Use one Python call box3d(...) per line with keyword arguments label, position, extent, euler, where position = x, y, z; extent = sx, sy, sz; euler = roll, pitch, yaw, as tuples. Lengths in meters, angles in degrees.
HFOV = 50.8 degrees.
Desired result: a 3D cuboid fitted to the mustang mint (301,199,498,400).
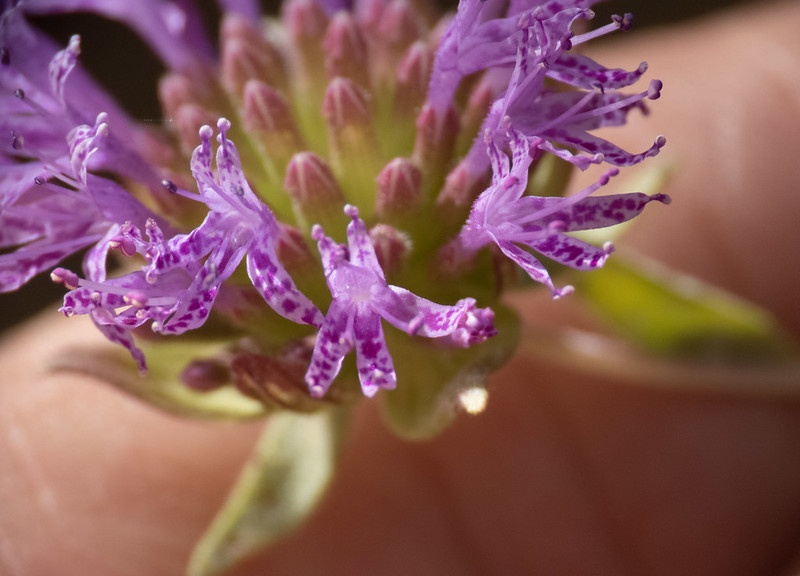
box3d(label="mustang mint", position=(-0.083, 0.058, 2.442), extent=(0.484, 0.524, 0.174), euler=(-21, -2, -3))
